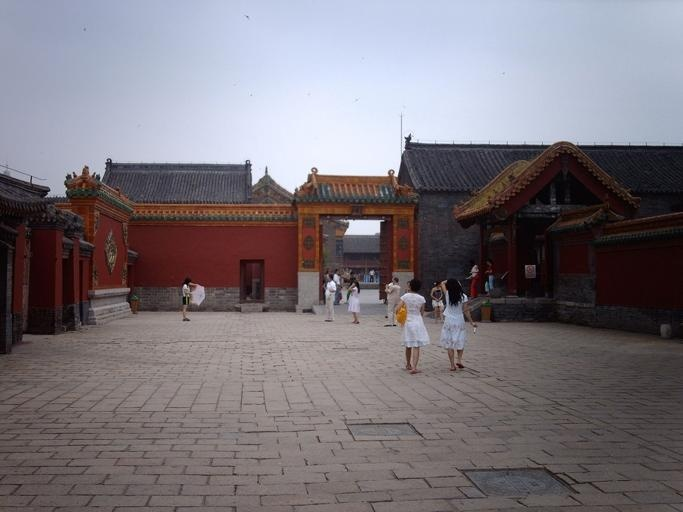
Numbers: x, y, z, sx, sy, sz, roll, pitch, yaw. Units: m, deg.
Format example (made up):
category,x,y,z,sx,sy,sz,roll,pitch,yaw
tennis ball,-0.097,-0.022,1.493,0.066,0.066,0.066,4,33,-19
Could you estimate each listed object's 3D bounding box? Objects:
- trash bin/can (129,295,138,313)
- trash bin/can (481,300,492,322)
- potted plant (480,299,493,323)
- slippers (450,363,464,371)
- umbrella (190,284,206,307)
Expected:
category,x,y,z,sx,sy,sz,roll,pitch,yaw
trash bin/can,-8.052,1.864,22.448,0.296,0.712,1.269,-1,-4,-20
trash bin/can,4.544,1.714,18.119,0.361,0.649,0.221,-3,-4,13
potted plant,4.550,1.750,18.096,0.554,0.739,0.536,3,-2,-7
slippers,1.956,1.879,9.777,0.099,0.111,0.282,1,-9,-6
umbrella,-5.386,1.499,21.909,0.789,0.830,0.307,2,8,14
